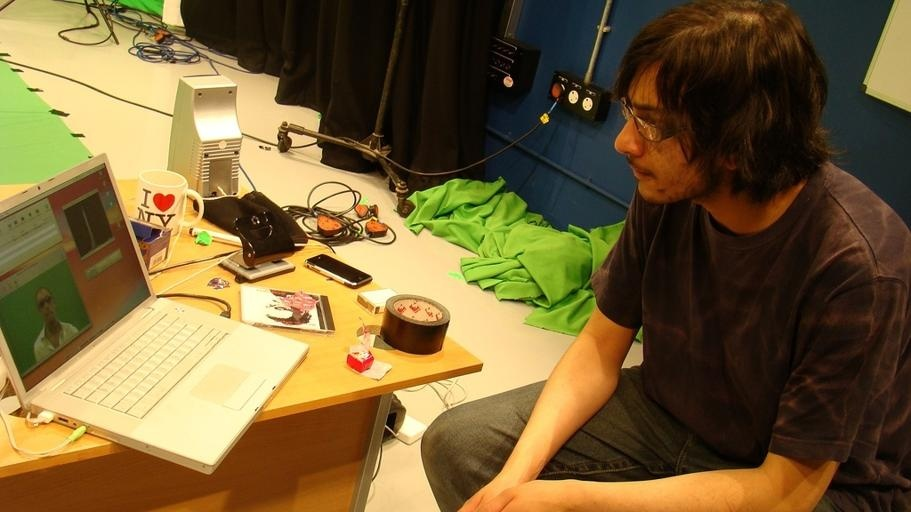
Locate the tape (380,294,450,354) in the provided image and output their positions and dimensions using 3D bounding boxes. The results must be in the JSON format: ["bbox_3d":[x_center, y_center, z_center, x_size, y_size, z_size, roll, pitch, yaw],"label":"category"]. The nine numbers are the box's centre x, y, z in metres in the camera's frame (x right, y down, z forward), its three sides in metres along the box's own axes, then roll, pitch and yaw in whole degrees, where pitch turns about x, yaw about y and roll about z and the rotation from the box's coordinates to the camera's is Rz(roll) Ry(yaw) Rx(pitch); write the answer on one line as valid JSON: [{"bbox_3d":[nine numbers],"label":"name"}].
[{"bbox_3d":[-0.136,0.220,1.830,0.204,0.105,0.188,2,31,-22],"label":"tape"}]

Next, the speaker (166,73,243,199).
[{"bbox_3d":[-0.938,-0.442,2.299,0.287,0.494,0.236,3,1,16],"label":"speaker"}]

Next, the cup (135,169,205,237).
[{"bbox_3d":[-0.962,-0.173,1.980,0.175,0.226,0.170,6,3,0],"label":"cup"}]

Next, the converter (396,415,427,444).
[{"bbox_3d":[-0.187,0.745,2.519,0.120,0.042,0.114,24,43,17],"label":"converter"}]

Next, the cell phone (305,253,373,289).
[{"bbox_3d":[-0.388,0.029,1.977,0.199,0.024,0.110,24,27,21],"label":"cell phone"}]

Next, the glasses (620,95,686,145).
[{"bbox_3d":[0.522,-0.390,1.664,0.177,0.114,0.222,-8,28,-14],"label":"glasses"}]
